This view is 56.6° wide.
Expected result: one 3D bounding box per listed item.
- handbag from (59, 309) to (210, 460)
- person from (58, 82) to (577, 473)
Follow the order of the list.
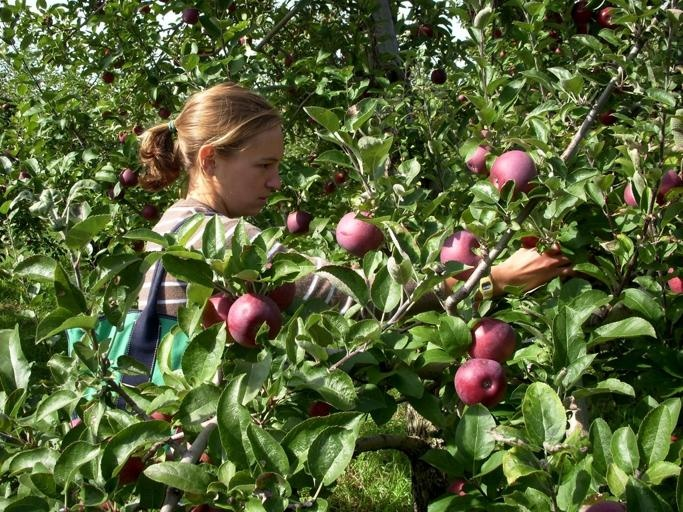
[{"bbox_3d":[-0.481,0.305,1.476,0.329,0.167,0.418,-3,45,-2],"label":"handbag"},{"bbox_3d":[-0.121,0.065,2.423,2.057,1.293,0.696,5,12,14],"label":"person"}]
